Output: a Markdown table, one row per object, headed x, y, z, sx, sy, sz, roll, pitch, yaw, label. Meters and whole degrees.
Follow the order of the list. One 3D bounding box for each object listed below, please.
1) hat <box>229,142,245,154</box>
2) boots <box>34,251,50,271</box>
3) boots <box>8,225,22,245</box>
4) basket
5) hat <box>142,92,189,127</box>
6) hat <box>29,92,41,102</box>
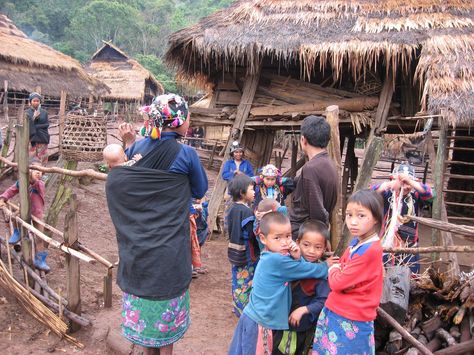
| x | y | z | sx | sy | sz | roll | pitch | yaw | label |
| --- | --- | --- | --- | --- | --- | --- | --- | --- | --- |
| 0.010 | -0.610 | 9.024 | 0.219 | 0.295 | 0.258 | -3 | 45 | -36 | hat |
| -2.841 | 1.242 | 6.056 | 0.200 | 0.310 | 0.297 | 4 | 8 | -25 | boots |
| -3.476 | 0.900 | 6.397 | 0.144 | 0.250 | 0.338 | 2 | 0 | 3 | boots |
| -2.559 | -0.724 | 7.219 | 0.900 | 0.951 | 0.888 | 5 | 0 | -43 | basket |
| -0.690 | -0.682 | 4.058 | 0.370 | 0.280 | 0.296 | -7 | 23 | -20 | hat |
| -4.018 | -1.584 | 8.286 | 0.184 | 0.167 | 0.390 | 3 | 8 | -32 | hat |
